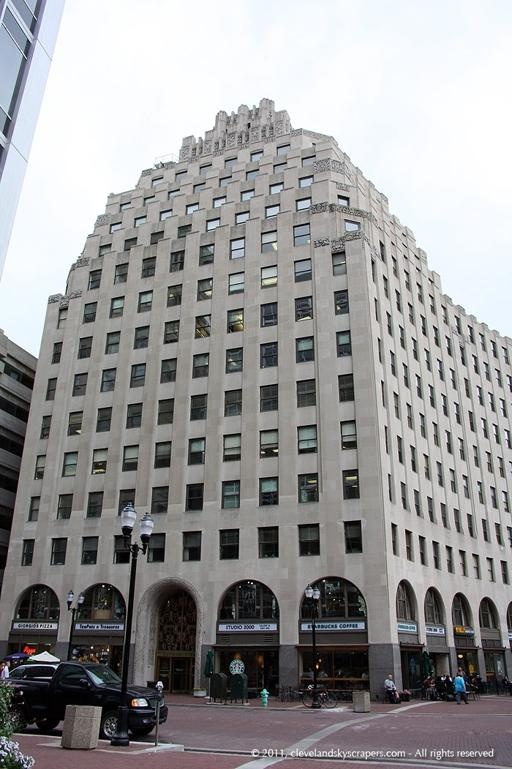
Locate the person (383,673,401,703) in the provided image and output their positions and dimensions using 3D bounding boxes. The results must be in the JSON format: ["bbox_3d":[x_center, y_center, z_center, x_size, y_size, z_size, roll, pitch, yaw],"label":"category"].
[{"bbox_3d":[7.308,16.771,28.867,0.759,1.317,2.007,-5,-27,13],"label":"person"}]

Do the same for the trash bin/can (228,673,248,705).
[{"bbox_3d":[-0.929,15.488,26.667,0.741,1.302,0.911,-12,-28,28],"label":"trash bin/can"}]

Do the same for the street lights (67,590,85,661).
[{"bbox_3d":[-13.243,17.727,38.525,0.935,4.425,0.941,19,-29,-35],"label":"street lights"}]

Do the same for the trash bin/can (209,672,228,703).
[{"bbox_3d":[-1.982,15.685,27.097,0.673,1.305,1.425,15,-29,-28],"label":"trash bin/can"}]

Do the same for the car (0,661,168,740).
[{"bbox_3d":[-4.539,8.182,13.608,4.129,1.682,1.895,-7,-27,17],"label":"car"}]
